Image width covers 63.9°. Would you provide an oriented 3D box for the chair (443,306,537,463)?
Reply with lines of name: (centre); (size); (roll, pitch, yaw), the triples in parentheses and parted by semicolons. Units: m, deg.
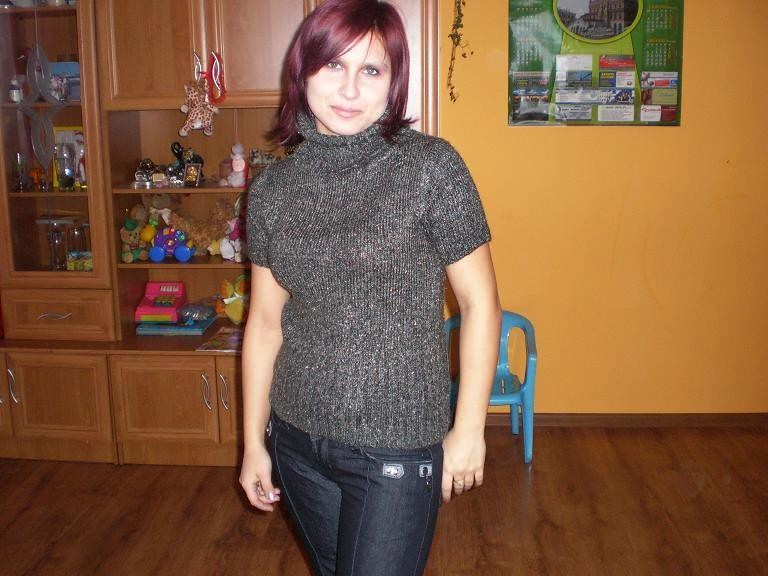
chair: (0.550, 0.530, 3.386); (0.566, 0.735, 0.548); (-3, 6, -11)
